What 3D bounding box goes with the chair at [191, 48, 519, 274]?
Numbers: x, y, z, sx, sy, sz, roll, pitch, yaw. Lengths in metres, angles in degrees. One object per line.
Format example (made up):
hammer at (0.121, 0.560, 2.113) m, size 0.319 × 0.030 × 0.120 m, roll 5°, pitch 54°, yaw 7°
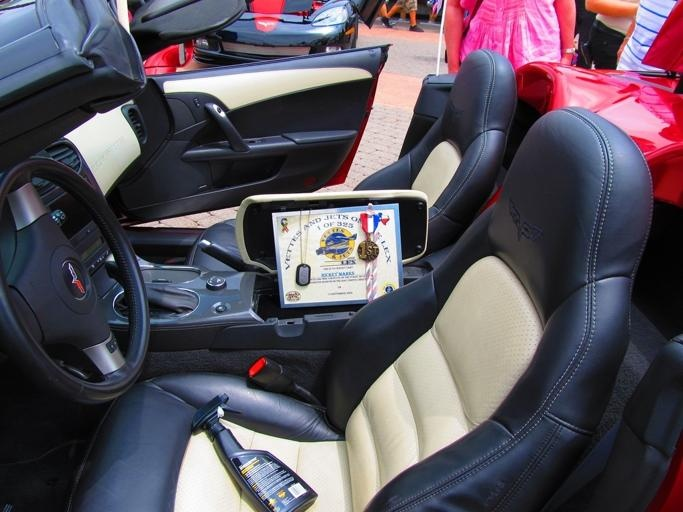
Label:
chair at (0.120, -0.382, 1.984) m, size 0.942 × 0.865 × 0.662 m, roll -1°, pitch 26°, yaw -12°
